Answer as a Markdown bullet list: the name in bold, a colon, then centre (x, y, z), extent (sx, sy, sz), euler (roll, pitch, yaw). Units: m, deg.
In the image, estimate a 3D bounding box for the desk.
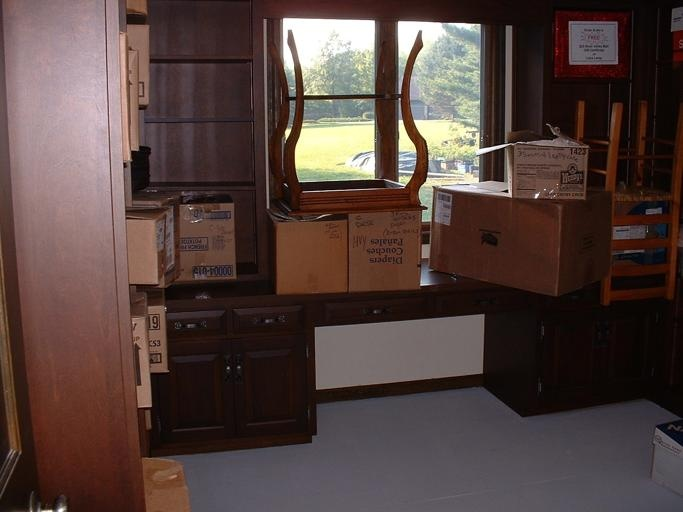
- **desk**: centre (0.060, -0.727, 3.331), extent (0.803, 0.870, 0.705), euler (0, 14, 4)
